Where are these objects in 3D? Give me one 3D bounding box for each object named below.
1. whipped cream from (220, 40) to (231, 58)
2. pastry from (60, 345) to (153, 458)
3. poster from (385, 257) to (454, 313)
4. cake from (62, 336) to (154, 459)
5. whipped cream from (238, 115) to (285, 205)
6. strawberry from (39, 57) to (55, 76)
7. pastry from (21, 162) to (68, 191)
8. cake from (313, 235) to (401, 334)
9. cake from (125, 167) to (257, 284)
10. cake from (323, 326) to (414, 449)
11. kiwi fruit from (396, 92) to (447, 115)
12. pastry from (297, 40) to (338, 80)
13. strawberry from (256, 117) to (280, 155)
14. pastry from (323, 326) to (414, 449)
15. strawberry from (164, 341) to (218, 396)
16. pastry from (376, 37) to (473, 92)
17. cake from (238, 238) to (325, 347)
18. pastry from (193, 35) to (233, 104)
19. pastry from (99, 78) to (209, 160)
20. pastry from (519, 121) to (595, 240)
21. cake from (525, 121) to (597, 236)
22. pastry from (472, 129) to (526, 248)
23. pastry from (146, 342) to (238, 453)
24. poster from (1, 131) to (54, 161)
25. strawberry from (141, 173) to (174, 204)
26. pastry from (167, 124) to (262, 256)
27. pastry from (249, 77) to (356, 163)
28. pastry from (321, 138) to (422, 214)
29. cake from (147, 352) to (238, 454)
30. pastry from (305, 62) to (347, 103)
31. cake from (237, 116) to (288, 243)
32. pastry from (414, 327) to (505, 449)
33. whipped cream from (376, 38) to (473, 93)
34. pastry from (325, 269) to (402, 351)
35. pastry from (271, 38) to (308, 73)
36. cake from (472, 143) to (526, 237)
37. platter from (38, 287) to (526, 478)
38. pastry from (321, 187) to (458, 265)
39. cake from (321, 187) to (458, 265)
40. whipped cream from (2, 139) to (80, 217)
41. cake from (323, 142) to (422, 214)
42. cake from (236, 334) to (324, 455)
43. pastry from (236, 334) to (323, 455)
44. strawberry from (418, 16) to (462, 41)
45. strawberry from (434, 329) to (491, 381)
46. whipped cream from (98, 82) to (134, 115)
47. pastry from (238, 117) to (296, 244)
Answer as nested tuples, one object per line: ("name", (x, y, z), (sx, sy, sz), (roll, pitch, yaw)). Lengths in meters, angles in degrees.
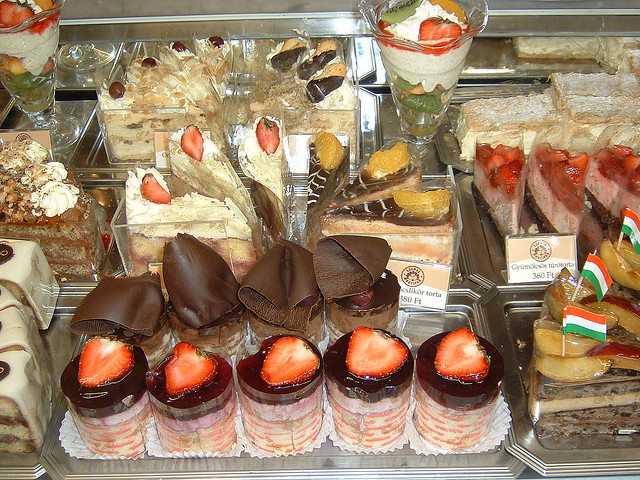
("whipped cream", (-0.627, -1.259, 3.188), (0.088, 0.116, 0.035), (7, -8, 4))
("pastry", (-0.691, 0.595, 1.857), (0.352, 0.386, 0.347), (1, 45, 0))
("poster", (0.413, 0.191, 2.064), (0.278, 0.199, 0.036), (8, 36, 10))
("cake", (-0.764, 0.637, 1.752), (0.258, 0.233, 0.257), (1, 13, 10))
("whipped cream", (-0.285, -0.399, 2.404), (0.185, 0.412, 0.459), (-3, 75, -1))
("strawberry", (-1.545, -0.988, 2.738), (0.092, 0.031, 0.088), (-18, 46, 50))
("pastry", (-1.346, -0.328, 2.357), (0.157, 0.047, 0.157), (27, 45, 21))
("cake", (0.129, 0.176, 1.872), (0.262, 0.259, 0.223), (26, 62, 19))
("cake", (-0.581, -0.034, 2.284), (0.548, 0.333, 0.522), (-5, 56, -13))
("cake", (0.170, 0.577, 1.785), (0.285, 0.304, 0.280), (-12, 21, -32))
("kiwi fruit", (0.542, -0.757, 2.619), (0.142, 0.050, 0.143), (30, 50, 22))
("pastry", (-0.022, -1.088, 2.972), (0.116, 0.149, 0.347), (38, 71, 22))
("strawberry", (-0.289, -0.541, 2.460), (0.132, 0.056, 0.190), (24, 61, -20))
("pastry", (0.158, 0.520, 1.852), (0.396, 0.427, 0.388), (3, 39, 6))
("strawberry", (-0.452, 0.435, 1.677), (0.182, 0.118, 0.133), (-12, 23, -18))
("pastry", (0.530, -0.879, 2.430), (0.302, 0.218, 0.303), (-9, 57, -1))
("cake", (-0.142, 0.198, 1.927), (0.380, 0.394, 0.172), (-19, 4, 1))
("pastry", (-0.655, -1.127, 3.036), (0.188, 0.505, 0.390), (-1, 26, 0))
("pastry", (-0.974, -0.704, 2.885), (0.756, 0.507, 0.408), (-2, 16, -7))
("pastry", (1.259, -0.427, 2.723), (0.315, 0.338, 0.947), (3, 40, 17))
("cake", (1.322, -0.403, 2.653), (0.285, 0.274, 0.840), (-1, 40, 13))
("pastry", (0.947, -0.298, 2.623), (0.275, 0.320, 0.693), (-3, 46, 15))
("pastry", (-0.446, 0.575, 1.761), (0.288, 0.315, 0.282), (-1, 32, -5))
("poster", (-1.501, -0.483, 2.482), (0.224, 0.022, 0.220), (0, 57, -13))
("strawberry", (-0.736, -0.227, 2.156), (0.138, 0.104, 0.052), (20, -16, -22))
("pastry", (-0.527, -0.213, 2.294), (0.399, 0.269, 0.641), (-1, 72, -29))
("pastry", (-0.063, -0.712, 2.747), (0.494, 0.133, 0.513), (-4, 76, 1))
("pastry", (0.291, -0.267, 2.460), (0.521, 0.213, 0.260), (-28, 62, -11))
("cake", (-0.388, 0.601, 1.804), (0.339, 0.370, 0.333), (-2, 47, -3))
("pastry", (0.067, -0.885, 2.816), (0.271, 0.095, 0.160), (-46, 56, -2))
("cake", (-0.223, -0.387, 2.603), (0.217, 0.600, 0.628), (6, 16, 13))
("pastry", (0.502, 0.546, 1.792), (0.313, 0.337, 0.309), (1, 30, 3))
("whipped cream", (0.518, -0.870, 2.421), (0.328, 0.221, 0.292), (1, 51, 4))
("pastry", (0.178, 0.244, 2.060), (0.311, 0.310, 0.303), (-11, 49, -5))
("pastry", (-0.171, -1.125, 3.029), (0.156, 0.096, 0.266), (36, 77, 19))
("cake", (0.990, -0.281, 2.559), (0.311, 0.261, 0.643), (4, 34, 9))
("platter", (-0.119, 0.521, 1.571), (1.286, 0.175, 0.833), (0, 44, 0))
("pastry", (0.244, -0.011, 2.280), (0.608, 0.241, 0.492), (17, -16, -35))
("cake", (0.300, -0.103, 2.321), (0.605, 0.226, 0.492), (4, 29, 4))
("whipped cream", (-1.369, -0.332, 2.360), (0.302, 0.151, 0.458), (-10, 50, -26))
("cake", (0.238, -0.258, 2.470), (0.543, 0.219, 0.249), (-27, 57, -7))
("cake", (-0.139, 0.552, 1.692), (0.263, 0.288, 0.264), (25, 49, 26))
("pastry", (-0.126, 0.539, 1.829), (0.384, 0.416, 0.376), (1, 42, 0))
("strawberry", (0.578, -1.043, 2.370), (0.136, 0.105, 0.200), (-23, 28, -37))
("strawberry", (0.493, 0.401, 1.699), (0.172, 0.104, 0.152), (1, 23, 13))
("whipped cream", (-1.152, -0.858, 2.783), (0.178, 0.166, 0.065), (-2, 70, -3))
("pastry", (-0.261, -0.283, 2.373), (0.180, 0.490, 0.487), (-12, 61, -3))
